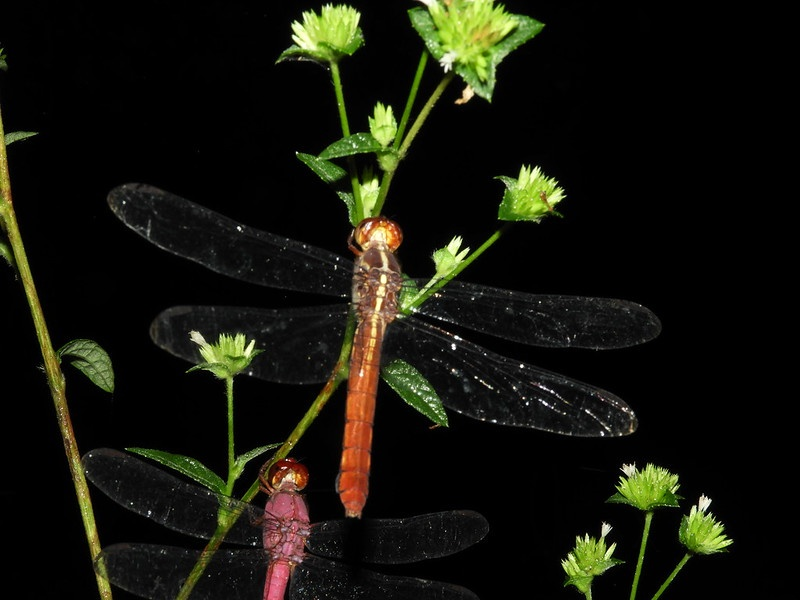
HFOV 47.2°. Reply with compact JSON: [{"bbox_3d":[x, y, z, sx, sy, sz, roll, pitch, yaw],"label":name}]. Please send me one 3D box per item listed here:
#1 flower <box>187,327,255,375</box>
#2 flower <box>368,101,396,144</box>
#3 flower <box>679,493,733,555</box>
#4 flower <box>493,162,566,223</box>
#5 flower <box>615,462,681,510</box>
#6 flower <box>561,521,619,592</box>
[{"bbox_3d":[-0.401,0.120,2.071,0.159,0.119,0.193,9,-10,-13],"label":"flower"},{"bbox_3d":[-0.040,-0.386,2.053,0.054,0.052,0.114,4,-11,3],"label":"flower"},{"bbox_3d":[0.735,0.542,2.210,0.112,0.135,0.213,4,-10,18],"label":"flower"},{"bbox_3d":[0.300,-0.242,2.115,0.142,0.159,0.188,5,-10,9],"label":"flower"},{"bbox_3d":[0.600,0.438,2.190,0.114,0.086,0.116,-8,-7,42],"label":"flower"},{"bbox_3d":[0.451,0.617,2.176,0.130,0.176,0.150,5,-9,7],"label":"flower"}]
